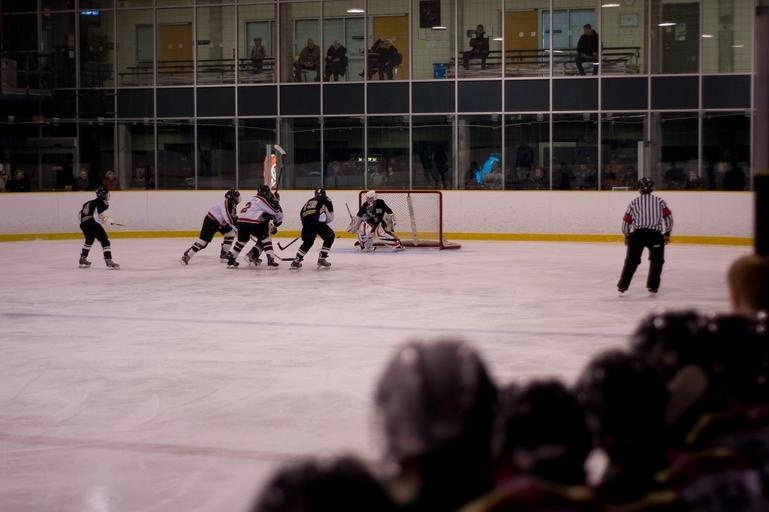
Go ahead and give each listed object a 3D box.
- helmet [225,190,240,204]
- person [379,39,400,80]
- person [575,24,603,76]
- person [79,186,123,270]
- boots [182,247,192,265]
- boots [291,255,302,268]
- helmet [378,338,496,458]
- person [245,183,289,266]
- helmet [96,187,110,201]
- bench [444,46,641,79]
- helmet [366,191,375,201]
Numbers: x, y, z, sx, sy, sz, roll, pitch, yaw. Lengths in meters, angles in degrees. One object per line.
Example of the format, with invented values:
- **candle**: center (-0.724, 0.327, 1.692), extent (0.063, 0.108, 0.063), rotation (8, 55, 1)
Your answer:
- **helmet**: center (-2.191, -0.880, 12.576), extent (0.191, 0.207, 0.219), rotation (12, 27, 21)
- **person**: center (0.167, -4.296, 18.925), extent (0.444, 0.834, 0.109), rotation (-1, 6, 22)
- **person**: center (4.211, -4.313, 18.028), extent (0.476, 1.025, 0.138), rotation (-2, 6, 6)
- **person**: center (-4.170, -0.432, 12.584), extent (0.546, 1.159, 1.849), rotation (-5, 6, -17)
- **boots**: center (-2.974, 0.006, 13.082), extent (0.102, 0.124, 0.286), rotation (26, 39, -17)
- **boots**: center (-1.234, 0.076, 11.968), extent (0.110, 0.189, 0.197), rotation (14, 16, -7)
- **helmet**: center (0.090, 0.244, 1.571), extent (0.180, 0.178, 0.222), rotation (0, 13, 2)
- **person**: center (-1.625, -0.376, 12.311), extent (0.766, 1.008, 0.288), rotation (13, 4, 15)
- **helmet**: center (-3.957, -0.880, 12.208), extent (0.156, 0.215, 0.396), rotation (-5, 6, -19)
- **bench**: center (3.564, -4.075, 18.268), extent (3.600, 0.687, 0.143), rotation (-1, 6, 15)
- **helmet**: center (-0.221, -0.986, 14.014), extent (0.135, 0.132, 0.165), rotation (6, 36, 14)
